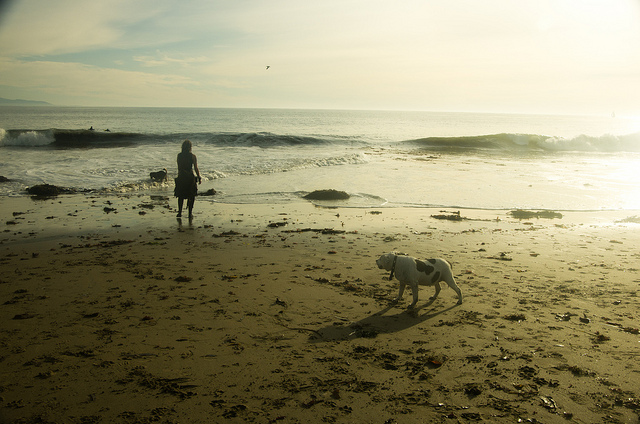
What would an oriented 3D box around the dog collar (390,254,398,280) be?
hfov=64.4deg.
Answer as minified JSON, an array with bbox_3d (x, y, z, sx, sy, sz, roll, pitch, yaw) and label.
[{"bbox_3d":[1.557,1.227,11.032,0.117,0.595,0.105,19,37,9],"label":"dog collar"}]

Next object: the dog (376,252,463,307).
[{"bbox_3d":[2.196,1.462,11.186,2.064,0.919,0.617,3,-10,-16],"label":"dog"}]

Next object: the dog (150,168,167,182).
[{"bbox_3d":[-7.341,-1.679,23.627,0.760,0.442,0.569,-9,14,-39],"label":"dog"}]
